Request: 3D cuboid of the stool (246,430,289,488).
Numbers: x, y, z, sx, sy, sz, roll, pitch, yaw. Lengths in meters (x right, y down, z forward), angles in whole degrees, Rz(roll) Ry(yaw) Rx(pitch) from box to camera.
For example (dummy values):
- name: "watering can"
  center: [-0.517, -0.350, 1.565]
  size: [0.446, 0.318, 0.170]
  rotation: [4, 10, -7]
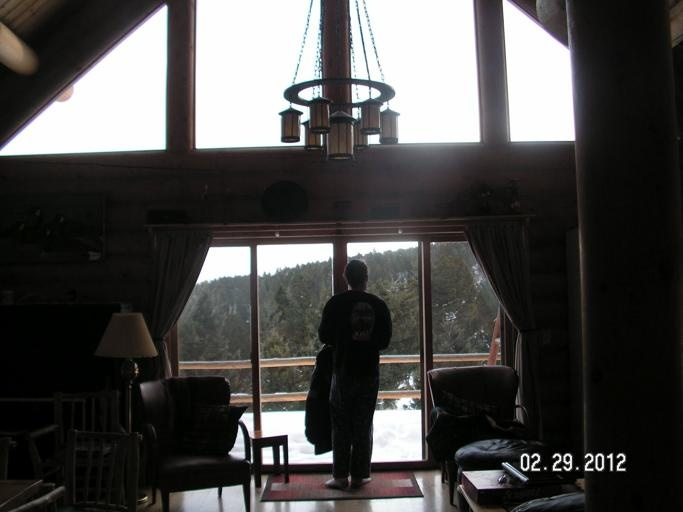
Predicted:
- name: "stool"
  center: [-0.669, 1.863, 6.548]
  size: [0.425, 0.590, 0.440]
  rotation: [0, -10, -16]

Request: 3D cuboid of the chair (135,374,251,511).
- name: "chair"
  center: [-1.240, 1.631, 6.298]
  size: [0.920, 1.223, 1.071]
  rotation: [4, -24, -20]

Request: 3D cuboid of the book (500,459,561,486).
- name: "book"
  center: [1.362, 1.556, 5.078]
  size: [0.425, 0.130, 0.194]
  rotation: [-5, -9, 20]

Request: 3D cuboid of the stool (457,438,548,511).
- name: "stool"
  center: [1.267, 1.716, 5.660]
  size: [0.443, 0.179, 0.452]
  rotation: [-3, -5, -26]

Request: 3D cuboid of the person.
- name: "person"
  center: [0.132, 1.046, 6.268]
  size: [0.620, 1.976, 0.480]
  rotation: [-2, -9, 3]

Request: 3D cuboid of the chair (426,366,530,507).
- name: "chair"
  center: [1.154, 1.527, 6.502]
  size: [0.886, 1.186, 1.007]
  rotation: [-1, -24, 7]
